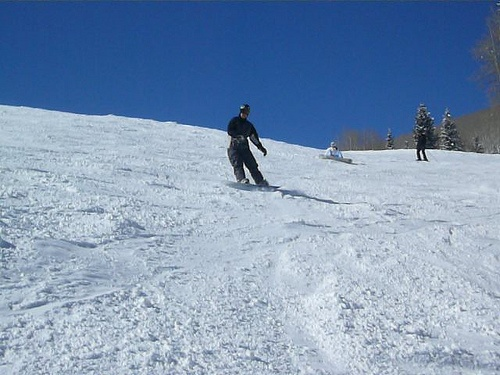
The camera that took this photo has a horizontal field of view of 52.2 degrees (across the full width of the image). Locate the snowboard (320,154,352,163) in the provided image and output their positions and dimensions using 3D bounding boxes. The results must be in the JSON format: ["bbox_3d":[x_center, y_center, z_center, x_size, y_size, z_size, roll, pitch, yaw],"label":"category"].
[{"bbox_3d":[3.128,-1.063,18.791,1.367,0.153,0.572,11,9,37],"label":"snowboard"}]

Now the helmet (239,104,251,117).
[{"bbox_3d":[-0.114,-1.640,10.967,0.173,0.271,0.281,4,7,-5],"label":"helmet"}]

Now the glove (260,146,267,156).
[{"bbox_3d":[0.266,-0.783,11.165,0.103,0.247,0.422,-4,-5,11],"label":"glove"}]

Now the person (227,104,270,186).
[{"bbox_3d":[-0.103,-0.940,11.054,0.864,1.674,0.860,10,9,38],"label":"person"}]

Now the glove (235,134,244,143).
[{"bbox_3d":[-0.216,-1.047,10.993,0.202,0.162,0.157,4,7,-2],"label":"glove"}]
